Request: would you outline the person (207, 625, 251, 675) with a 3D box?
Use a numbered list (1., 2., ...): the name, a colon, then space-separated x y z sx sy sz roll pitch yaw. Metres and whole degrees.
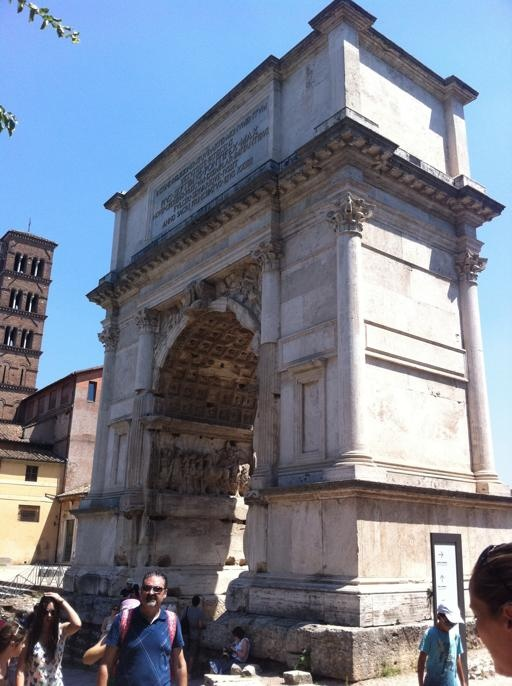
1. person: -0.498 5.867 10.464 0.748 0.802 1.139 3 -19 -2
